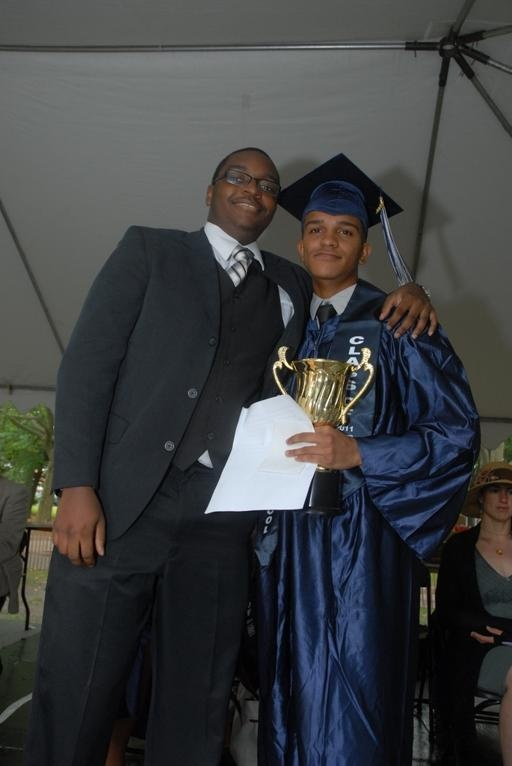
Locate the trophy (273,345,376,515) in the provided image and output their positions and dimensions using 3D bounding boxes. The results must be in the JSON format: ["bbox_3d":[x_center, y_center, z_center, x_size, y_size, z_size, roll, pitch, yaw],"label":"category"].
[{"bbox_3d":[0.177,0.125,1.831,0.313,0.457,0.177,5,-5,5],"label":"trophy"}]

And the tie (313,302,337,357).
[{"bbox_3d":[0.218,-0.171,2.043,0.093,0.157,0.039,6,-12,11],"label":"tie"}]
